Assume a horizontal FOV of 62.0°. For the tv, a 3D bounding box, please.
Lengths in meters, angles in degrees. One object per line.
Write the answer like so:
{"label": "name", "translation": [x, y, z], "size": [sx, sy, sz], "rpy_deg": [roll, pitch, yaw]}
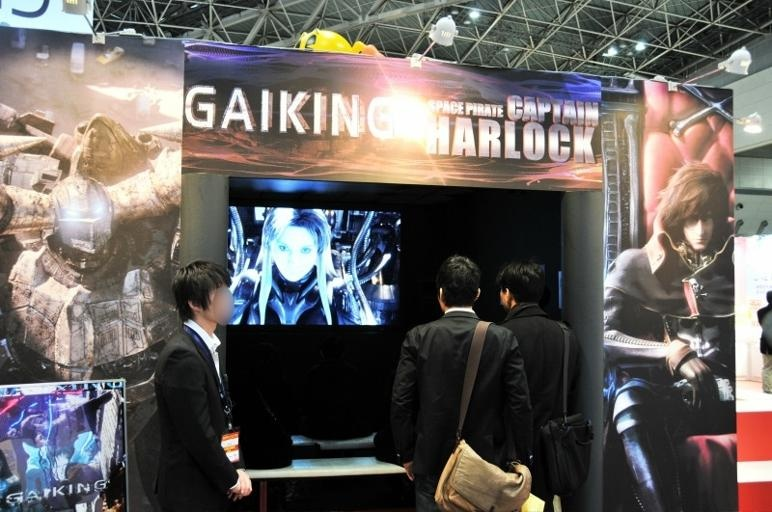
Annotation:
{"label": "tv", "translation": [-0.702, 0.125, 6.038], "size": [1.396, 0.957, 0.020], "rpy_deg": [0, 0, -8]}

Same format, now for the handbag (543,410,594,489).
{"label": "handbag", "translation": [1.269, 1.376, 4.446], "size": [0.372, 0.511, 0.280], "rpy_deg": [-3, -2, -39]}
